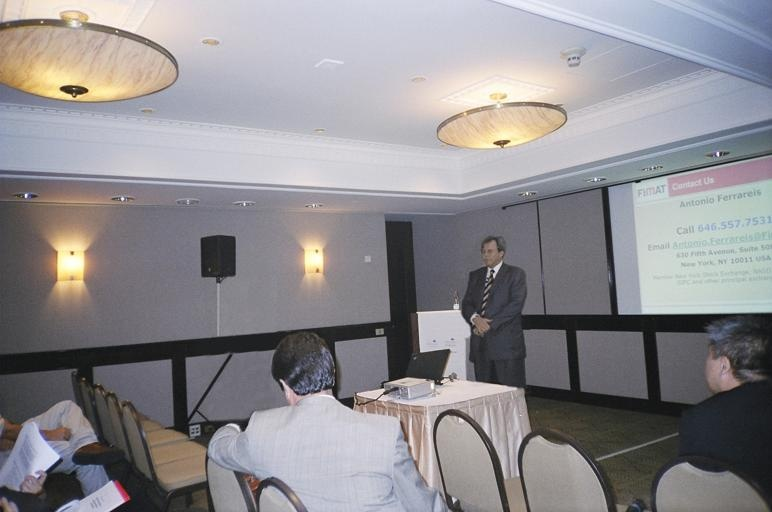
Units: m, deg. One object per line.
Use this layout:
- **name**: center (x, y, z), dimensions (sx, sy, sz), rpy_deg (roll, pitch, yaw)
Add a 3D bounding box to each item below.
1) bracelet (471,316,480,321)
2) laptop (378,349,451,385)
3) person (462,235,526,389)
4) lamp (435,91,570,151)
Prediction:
- **bracelet**: center (1.137, 0.784, 6.651), dimensions (0.072, 0.034, 0.094), rpy_deg (-3, 1, 7)
- **laptop**: center (0.266, 0.991, 5.215), dimensions (0.673, 0.430, 0.589), rpy_deg (0, 21, 0)
- **person**: center (1.370, 0.852, 6.698), dimensions (0.783, 1.574, 0.466), rpy_deg (-2, -3, 28)
- **lamp**: center (1.233, -1.441, 5.643), dimensions (1.300, 0.519, 1.265), rpy_deg (-3, -5, -9)
